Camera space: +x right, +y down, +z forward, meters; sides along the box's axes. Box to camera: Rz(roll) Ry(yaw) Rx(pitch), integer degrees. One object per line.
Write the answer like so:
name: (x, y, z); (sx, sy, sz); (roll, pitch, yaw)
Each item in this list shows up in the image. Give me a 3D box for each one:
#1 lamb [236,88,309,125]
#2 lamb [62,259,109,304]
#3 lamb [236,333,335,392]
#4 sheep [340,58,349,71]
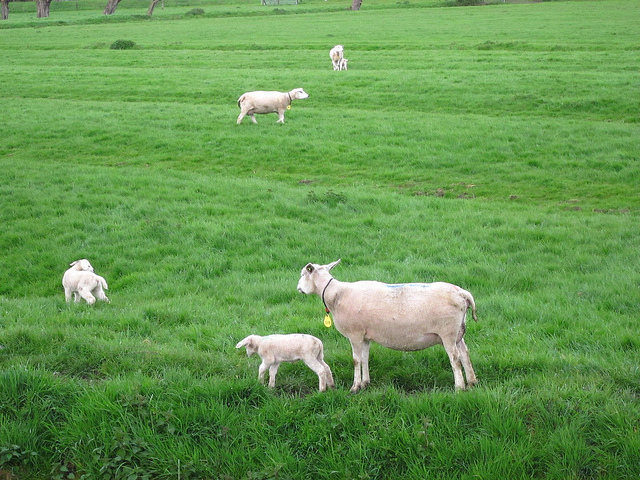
lamb: (-2.173, -6.113, 35.492); (3.215, 1.950, 1.064); (-1, 26, -9)
lamb: (-5.856, 1.023, 18.913); (1.331, 1.089, 0.726); (8, 7, 35)
lamb: (-0.814, 2.566, 16.227); (1.977, 1.302, 0.705); (-2, -1, 14)
sheep: (1.497, -10.878, 47.700); (0.348, 0.524, 0.939); (-1, -5, -7)
